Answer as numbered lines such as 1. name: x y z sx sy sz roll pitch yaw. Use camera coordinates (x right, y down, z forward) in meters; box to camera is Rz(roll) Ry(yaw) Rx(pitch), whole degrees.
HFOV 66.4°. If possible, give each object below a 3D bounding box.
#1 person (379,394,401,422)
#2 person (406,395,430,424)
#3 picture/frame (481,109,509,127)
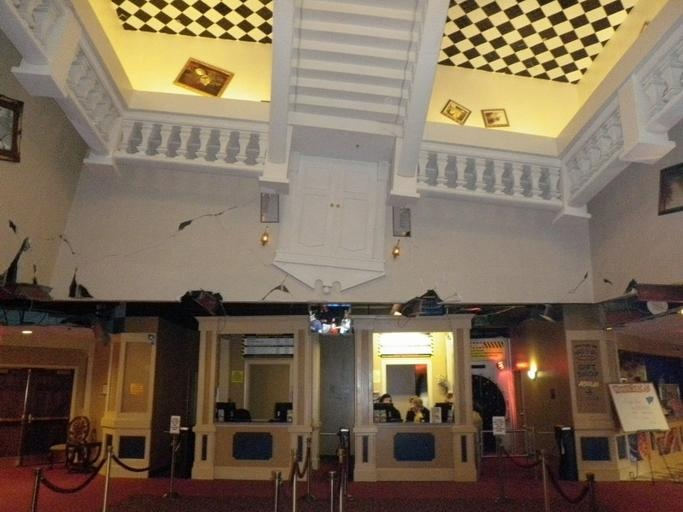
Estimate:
1. person: 0.985 3.122 10.832 0.427 0.571 1.226 -1 -17 4
2. person: 1.515 3.082 10.526 0.457 0.489 0.796 -3 -18 8
3. picture/frame: 2.448 -2.217 8.367 0.381 0.379 0.042 -3 -18 2
